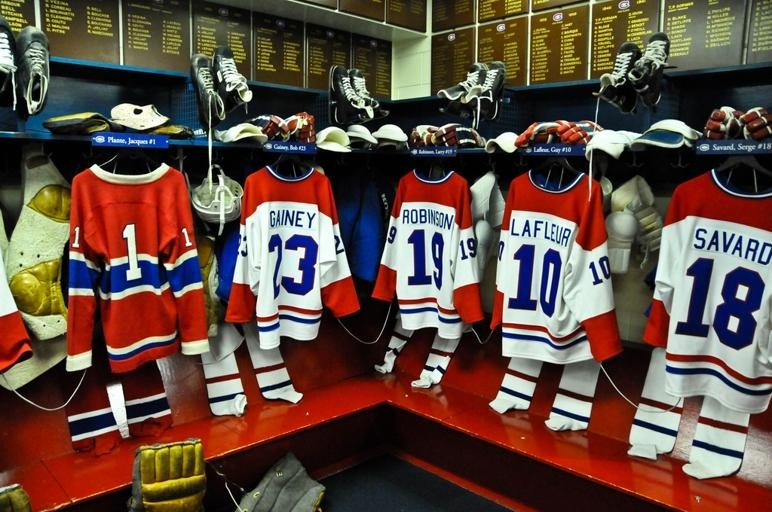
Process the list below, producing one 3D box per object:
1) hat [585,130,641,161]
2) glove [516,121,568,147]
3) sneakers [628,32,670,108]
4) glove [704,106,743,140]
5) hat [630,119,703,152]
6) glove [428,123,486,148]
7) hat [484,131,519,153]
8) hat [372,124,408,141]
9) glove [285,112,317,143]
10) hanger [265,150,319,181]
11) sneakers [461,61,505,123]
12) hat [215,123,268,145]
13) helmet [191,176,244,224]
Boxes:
[{"bbox_3d":[1.184,-0.588,2.954,0.272,0.106,0.159,-13,16,-42],"label":"hat"},{"bbox_3d":[0.856,-0.687,3.105,0.220,0.081,0.146,-13,16,19],"label":"glove"},{"bbox_3d":[1.380,-0.958,2.910,0.191,0.419,0.190,12,5,37],"label":"sneakers"},{"bbox_3d":[1.622,-0.638,2.689,0.144,0.148,0.115,-3,15,-14],"label":"glove"},{"bbox_3d":[1.428,-0.615,2.851,0.314,0.154,0.192,-1,15,-9],"label":"hat"},{"bbox_3d":[0.434,-0.735,3.414,0.249,0.103,0.166,2,22,10],"label":"glove"},{"bbox_3d":[0.683,-0.651,3.231,0.216,0.119,0.194,10,18,31],"label":"hat"},{"bbox_3d":[0.030,-0.787,3.601,0.167,0.058,0.123,14,10,31],"label":"hat"},{"bbox_3d":[-0.500,-0.760,3.319,0.159,0.162,0.183,-10,19,-34],"label":"glove"},{"bbox_3d":[-0.584,-0.556,3.448,0.253,0.149,0.012,-1,28,-12],"label":"hanger"},{"bbox_3d":[0.577,-0.991,3.382,0.220,0.370,0.159,16,18,32],"label":"sneakers"},{"bbox_3d":[-0.853,-0.686,3.235,0.214,0.072,0.153,9,10,42],"label":"hat"},{"bbox_3d":[-0.978,-0.316,3.301,0.318,0.291,0.239,1,28,-18],"label":"helmet"}]
